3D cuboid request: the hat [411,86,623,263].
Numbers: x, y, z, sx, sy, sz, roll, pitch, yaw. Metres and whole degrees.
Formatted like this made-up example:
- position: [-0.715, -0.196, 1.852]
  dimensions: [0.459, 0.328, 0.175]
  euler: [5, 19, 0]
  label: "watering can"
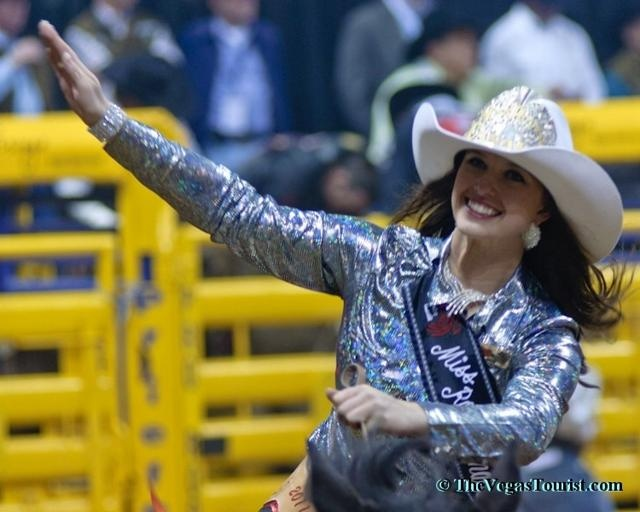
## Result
- position: [0.969, -0.378, 9.749]
  dimensions: [0.963, 0.889, 0.417]
  euler: [-4, 8, 4]
  label: "hat"
